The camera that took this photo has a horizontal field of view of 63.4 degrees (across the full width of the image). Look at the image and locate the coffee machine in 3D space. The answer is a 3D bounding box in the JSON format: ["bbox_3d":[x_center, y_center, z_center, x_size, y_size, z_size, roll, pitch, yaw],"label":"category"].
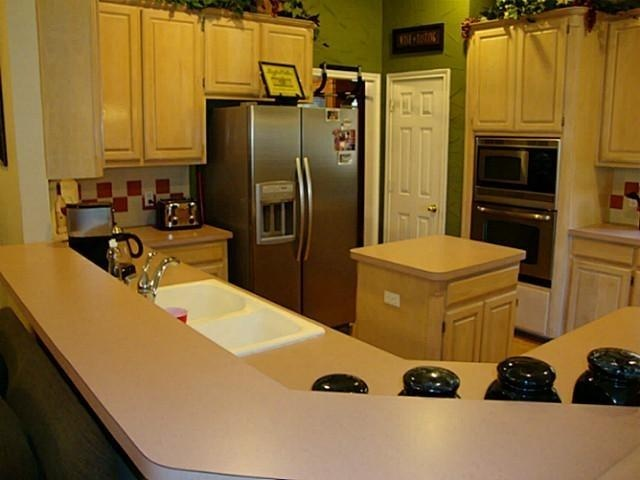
[{"bbox_3d":[-1.096,0.013,2.651,0.329,0.396,0.170,-4,1,-30],"label":"coffee machine"}]

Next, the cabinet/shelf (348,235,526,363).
[{"bbox_3d":[0.748,0.418,3.158,0.868,0.870,0.624,-10,21,-34],"label":"cabinet/shelf"}]

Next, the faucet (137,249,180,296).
[{"bbox_3d":[-0.650,0.142,2.074,0.114,0.172,0.123,15,20,-3],"label":"faucet"}]

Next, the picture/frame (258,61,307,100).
[{"bbox_3d":[-0.303,-1.266,4.157,0.057,0.287,0.392,-18,-4,42],"label":"picture/frame"}]

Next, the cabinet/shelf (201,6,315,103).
[{"bbox_3d":[-0.499,-1.456,4.239,0.914,0.617,0.272,-2,7,-18],"label":"cabinet/shelf"}]

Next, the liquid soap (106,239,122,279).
[{"bbox_3d":[-0.927,0.078,2.343,0.059,0.144,0.252,-1,11,-22],"label":"liquid soap"}]

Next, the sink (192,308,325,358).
[{"bbox_3d":[-0.202,0.361,2.017,0.252,0.110,0.276,-8,11,-37],"label":"sink"}]

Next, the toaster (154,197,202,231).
[{"bbox_3d":[-1.147,-0.196,4.223,0.317,0.235,0.250,-7,9,-35],"label":"toaster"}]

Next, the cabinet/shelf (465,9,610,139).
[{"bbox_3d":[1.811,-1.346,4.189,0.405,0.974,0.955,-11,18,-39],"label":"cabinet/shelf"}]

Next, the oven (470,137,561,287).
[{"bbox_3d":[1.807,-0.318,4.674,0.717,1.253,0.595,11,27,37],"label":"oven"}]
